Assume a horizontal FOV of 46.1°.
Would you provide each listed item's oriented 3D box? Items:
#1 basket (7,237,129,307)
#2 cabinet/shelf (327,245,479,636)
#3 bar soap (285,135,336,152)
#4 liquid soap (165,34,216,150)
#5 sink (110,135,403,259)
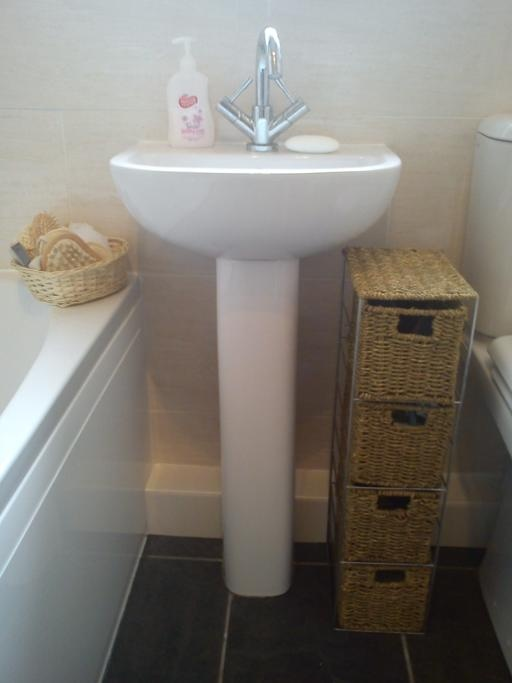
[{"bbox_3d":[-0.363,-0.141,1.213,0.230,0.091,0.254,-1,1,-42],"label":"basket"},{"bbox_3d":[0.281,0.192,1.184,0.262,0.749,0.417,3,33,7],"label":"cabinet/shelf"},{"bbox_3d":[0.101,-0.347,1.060,0.075,0.025,0.038,2,44,3],"label":"bar soap"},{"bbox_3d":[-0.128,-0.458,1.112,0.085,0.183,0.067,-6,32,-7],"label":"liquid soap"},{"bbox_3d":[-0.007,-0.250,1.001,0.460,0.183,0.407,2,33,5],"label":"sink"}]
